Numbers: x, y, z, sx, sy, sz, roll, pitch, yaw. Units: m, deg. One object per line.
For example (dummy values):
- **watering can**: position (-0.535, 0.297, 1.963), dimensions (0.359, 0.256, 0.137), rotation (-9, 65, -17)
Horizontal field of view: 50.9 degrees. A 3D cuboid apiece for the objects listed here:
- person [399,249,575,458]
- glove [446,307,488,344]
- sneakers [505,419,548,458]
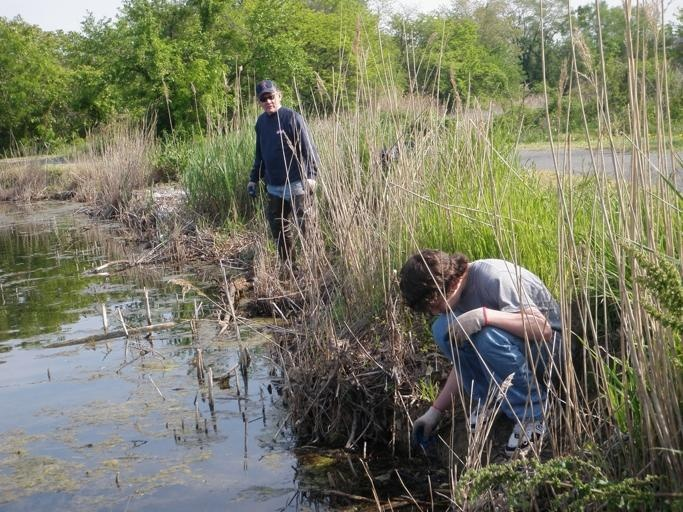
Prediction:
- **person**: position (0.987, 0.586, 4.960), dimensions (1.061, 1.360, 0.942), rotation (-9, 0, 5)
- **glove**: position (0.823, 0.457, 4.715), dimensions (0.256, 0.218, 0.202), rotation (-7, 4, -5)
- **sneakers**: position (1.169, 1.147, 4.495), dimensions (0.311, 0.129, 0.206), rotation (-40, 15, -27)
